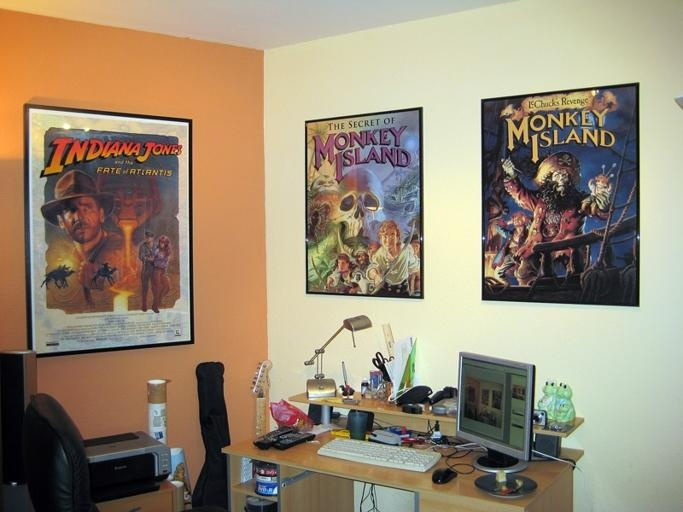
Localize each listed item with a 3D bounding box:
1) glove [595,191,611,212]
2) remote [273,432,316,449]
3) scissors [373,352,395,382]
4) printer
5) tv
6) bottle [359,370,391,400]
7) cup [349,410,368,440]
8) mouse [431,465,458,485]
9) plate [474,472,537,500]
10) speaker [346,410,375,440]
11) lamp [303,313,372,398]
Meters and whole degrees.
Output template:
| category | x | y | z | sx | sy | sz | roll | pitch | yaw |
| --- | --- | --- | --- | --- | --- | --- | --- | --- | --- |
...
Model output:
| category | x | y | z | sx | sy | sz | roll | pitch | yaw |
| --- | --- | --- | --- | --- | --- | --- | --- | --- | --- |
| glove | 1.590 | -0.334 | 3.524 | 0.084 | 0.115 | 0.041 | 2 | 6 | 17 |
| remote | -0.287 | 1.129 | 3.557 | 0.085 | 0.028 | 0.152 | 2 | 2 | 33 |
| scissors | 0.283 | 0.760 | 3.933 | 0.033 | 0.158 | 0.157 | -20 | -4 | 1 |
| printer | -1.214 | 1.210 | 3.310 | 0.427 | 0.229 | 0.387 | 1 | -7 | -35 |
| tv | 0.854 | 0.889 | 3.210 | 0.348 | 0.695 | 0.577 | 3 | -4 | -39 |
| bottle | 0.245 | 0.883 | 3.949 | 0.208 | 0.193 | 0.123 | -1 | -3 | 20 |
| cup | 0.104 | 1.043 | 3.572 | 0.142 | 0.222 | 0.141 | 0 | -10 | 0 |
| mouse | 0.557 | 1.174 | 3.115 | 0.099 | 0.081 | 0.186 | -2 | -1 | 32 |
| plate | 0.848 | 1.174 | 3.001 | 0.296 | 0.120 | 0.207 | -2 | -1 | 26 |
| speaker | 0.111 | 1.065 | 3.651 | 0.159 | 0.243 | 0.154 | 2 | -9 | -4 |
| lamp | -0.044 | 0.698 | 4.105 | 0.528 | 0.560 | 0.411 | -1 | 0 | 9 |
